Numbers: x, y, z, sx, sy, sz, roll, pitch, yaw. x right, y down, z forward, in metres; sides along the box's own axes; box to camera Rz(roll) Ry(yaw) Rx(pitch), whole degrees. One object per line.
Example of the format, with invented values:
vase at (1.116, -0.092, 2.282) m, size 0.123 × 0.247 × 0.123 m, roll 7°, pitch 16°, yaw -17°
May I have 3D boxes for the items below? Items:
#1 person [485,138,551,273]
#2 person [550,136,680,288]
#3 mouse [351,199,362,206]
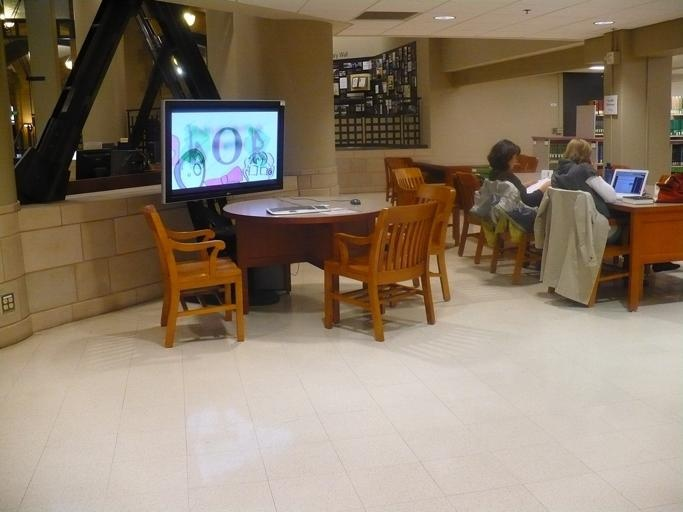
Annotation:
person at (2.013, -0.863, 5.676) m, size 0.643 × 0.856 × 0.603 m, roll 0°, pitch 12°, yaw 11°
person at (2.484, -0.703, 5.049) m, size 0.983 × 1.253 × 1.570 m, roll -7°, pitch 20°, yaw -16°
mouse at (0.143, -0.496, 4.690) m, size 0.073 × 0.036 × 0.107 m, roll 1°, pitch 10°, yaw -1°
